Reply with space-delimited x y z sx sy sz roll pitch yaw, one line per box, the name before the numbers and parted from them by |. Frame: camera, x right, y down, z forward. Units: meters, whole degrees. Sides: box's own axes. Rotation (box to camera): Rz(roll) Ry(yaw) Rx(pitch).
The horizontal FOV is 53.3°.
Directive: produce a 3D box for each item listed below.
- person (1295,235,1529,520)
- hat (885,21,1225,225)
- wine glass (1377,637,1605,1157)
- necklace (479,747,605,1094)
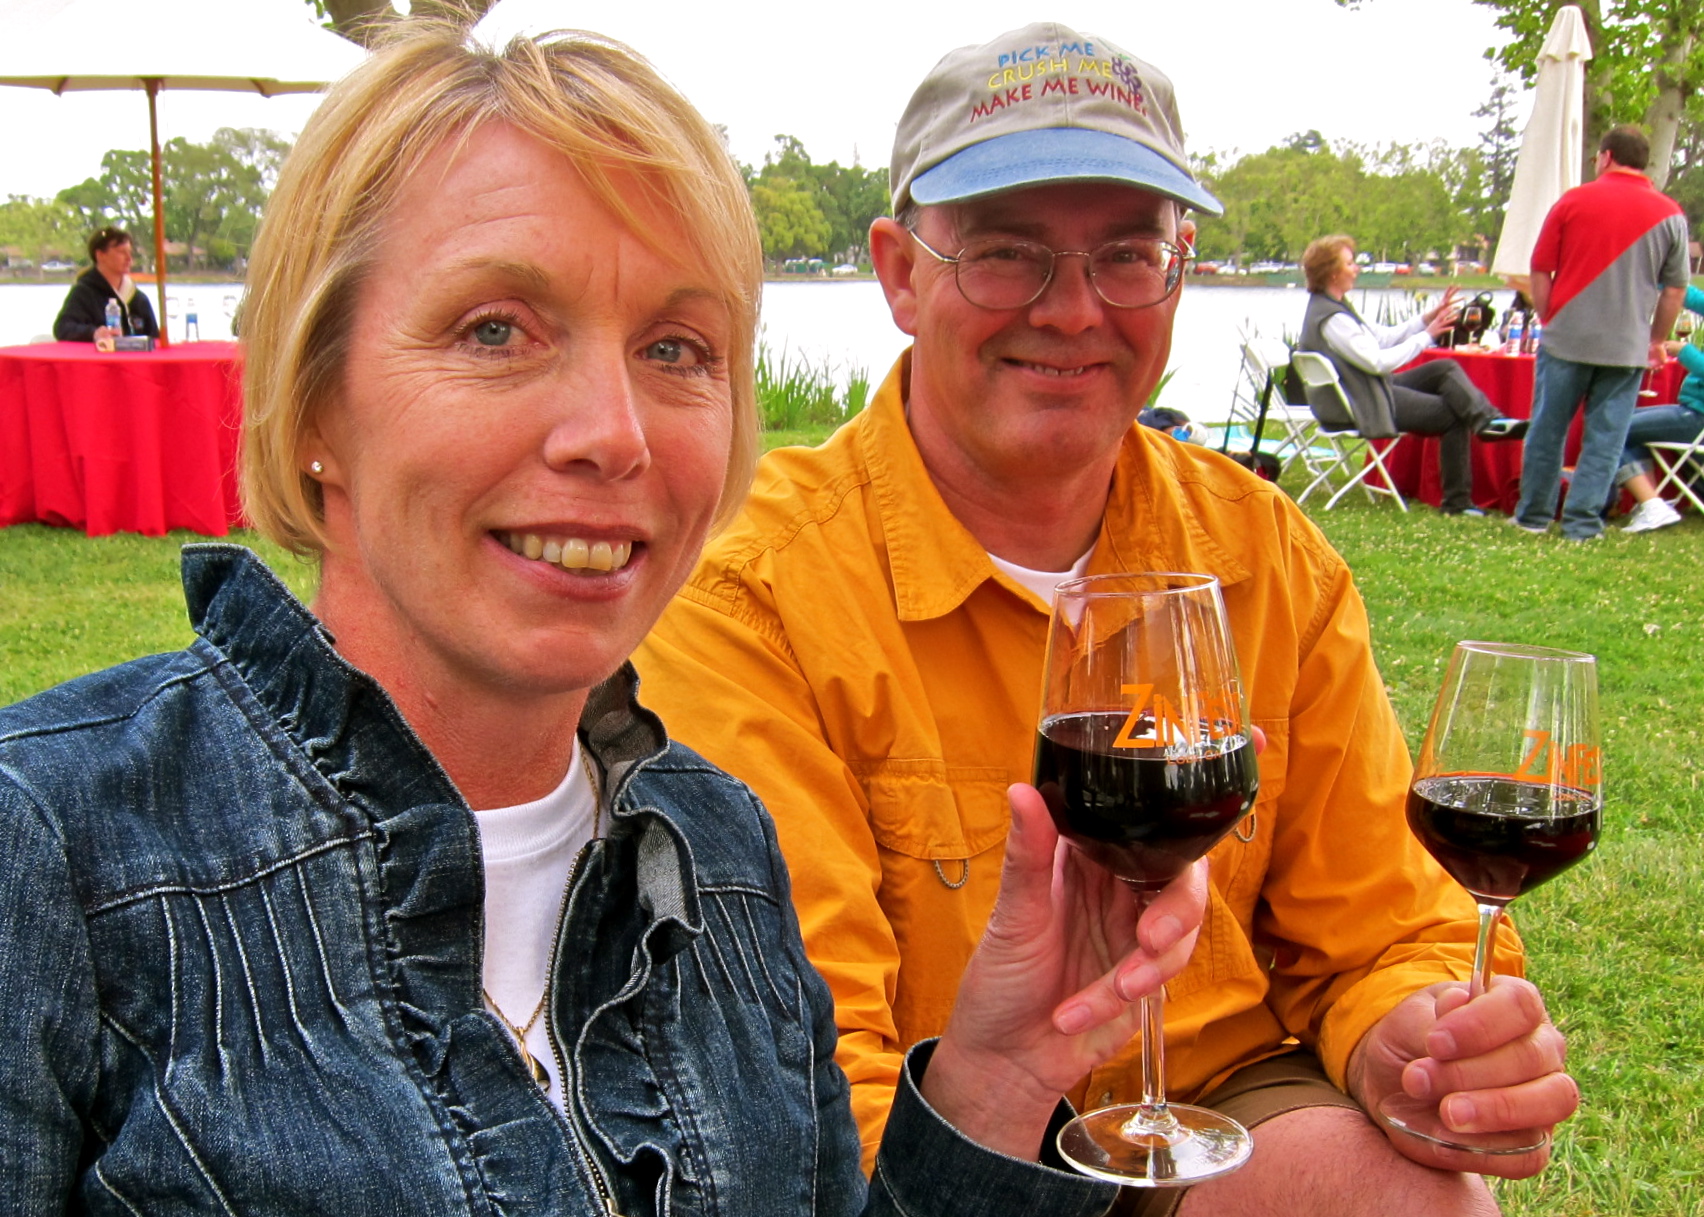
person | 3.650 -1.549 11.330 1.270 2.001 0.819 -3 -4 15
hat | 0.376 -0.965 3.334 0.591 0.405 0.775 0 8 -18
wine glass | 1.046 0.337 2.753 0.287 0.551 0.239 5 9 24
necklace | -0.436 0.420 2.309 0.230 0.352 0.078 11 -9 -44
